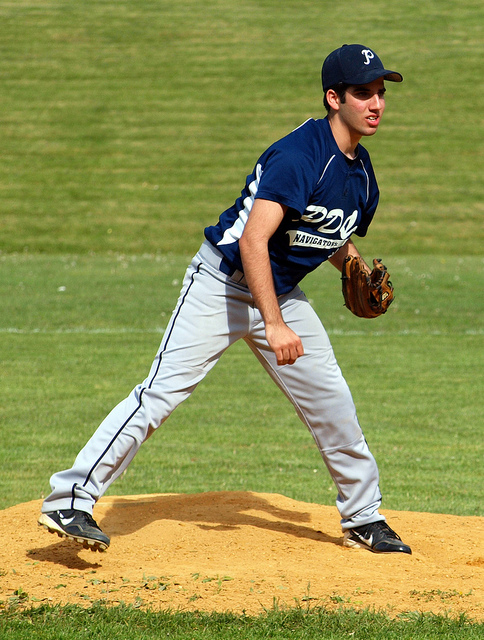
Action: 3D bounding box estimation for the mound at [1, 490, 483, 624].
[{"bbox_3d":[-0.087,1.168,5.653,2.485,0.107,1.754,3,8,10],"label":"mound"}]

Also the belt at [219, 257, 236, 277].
[{"bbox_3d":[-0.074,-0.250,5.442,0.084,0.084,0.015,6,10,29],"label":"belt"}]

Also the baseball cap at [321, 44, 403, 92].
[{"bbox_3d":[0.562,-1.233,5.511,0.423,0.220,0.281,0,11,42],"label":"baseball cap"}]
